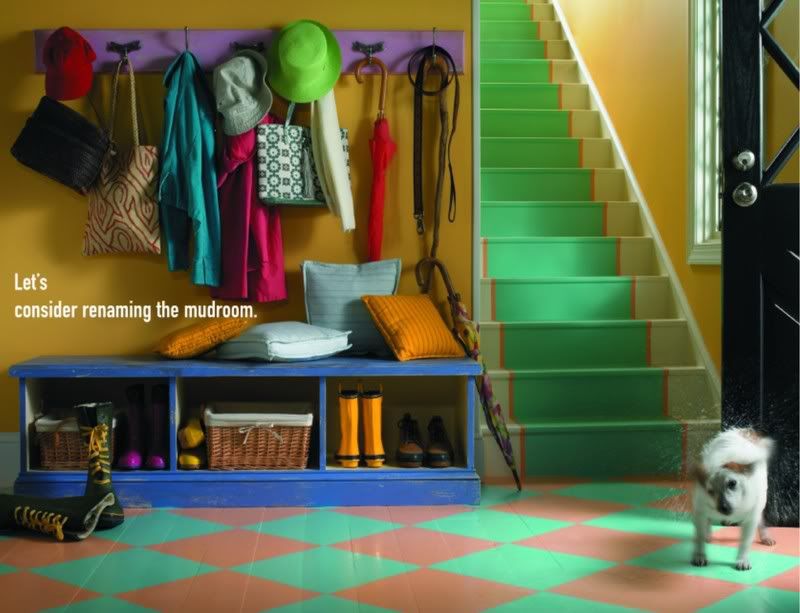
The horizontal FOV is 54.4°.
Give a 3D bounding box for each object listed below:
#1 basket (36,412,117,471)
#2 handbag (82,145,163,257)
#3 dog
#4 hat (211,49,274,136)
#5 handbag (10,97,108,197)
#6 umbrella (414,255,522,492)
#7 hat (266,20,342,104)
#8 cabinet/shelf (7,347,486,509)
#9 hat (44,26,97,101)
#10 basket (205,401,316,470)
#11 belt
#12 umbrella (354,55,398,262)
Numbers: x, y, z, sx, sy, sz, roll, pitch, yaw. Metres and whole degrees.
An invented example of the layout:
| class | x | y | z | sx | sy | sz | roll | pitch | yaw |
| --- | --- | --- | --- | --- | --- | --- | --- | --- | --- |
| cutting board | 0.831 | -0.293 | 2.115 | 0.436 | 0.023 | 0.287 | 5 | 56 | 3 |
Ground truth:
| class | x | y | z | sx | sy | sz | roll | pitch | yaw |
| --- | --- | --- | --- | --- | --- | --- | --- | --- | --- |
| basket | -1.487 | 0.618 | 3.604 | 0.308 | 0.247 | 0.252 | 0 | 1 | -8 |
| handbag | -1.331 | -0.520 | 3.736 | 0.475 | 0.678 | 0.126 | 1 | 0 | 4 |
| dog | 1.323 | 0.746 | 3.065 | 0.261 | 0.509 | 0.801 | 1 | -1 | 29 |
| hat | -0.724 | -1.023 | 3.709 | 0.300 | 0.374 | 0.135 | -18 | -16 | 35 |
| handbag | -1.621 | -0.726 | 3.856 | 0.429 | 0.446 | 0.210 | 33 | 1 | 4 |
| umbrella | 0.316 | 0.370 | 3.813 | 0.124 | 1.146 | 0.200 | -27 | -13 | 38 |
| hat | -0.453 | -1.179 | 3.747 | 0.365 | 0.383 | 0.208 | -1 | 8 | -10 |
| cabinet/shelf | -0.677 | 0.560 | 3.638 | 2.130 | 0.635 | 0.410 | 0 | 8 | -1 |
| hat | -1.587 | -1.145 | 3.750 | 0.238 | 0.338 | 0.107 | -3 | 6 | 1 |
| basket | -0.652 | 0.575 | 3.587 | 0.365 | 0.206 | 0.305 | 1 | 0 | -9 |
| belt | 0.176 | -0.840 | 3.911 | 0.267 | 0.947 | 0.173 | -1 | 7 | -7 |
| umbrella | -0.121 | -0.741 | 3.890 | 0.203 | 1.016 | 0.165 | 0 | 7 | -4 |
